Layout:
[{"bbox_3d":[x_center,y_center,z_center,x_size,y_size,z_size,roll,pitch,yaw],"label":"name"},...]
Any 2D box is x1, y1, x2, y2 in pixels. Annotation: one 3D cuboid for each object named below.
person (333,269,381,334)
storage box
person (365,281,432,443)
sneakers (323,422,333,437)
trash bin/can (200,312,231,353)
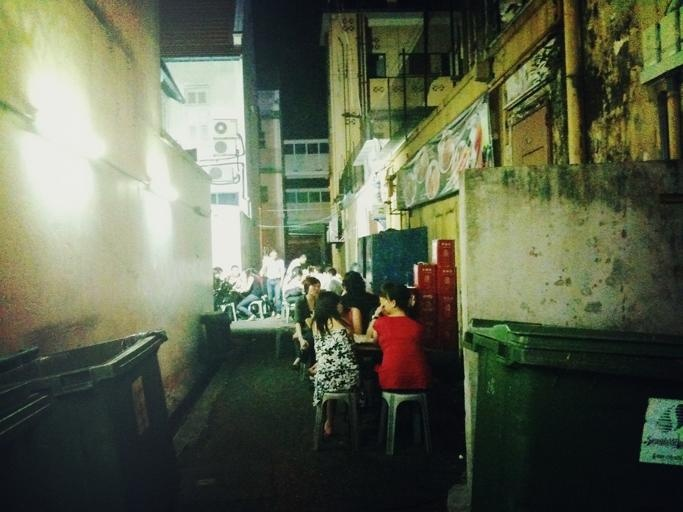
[{"bbox_3d":[0.230,0.656,10.029,0.530,1.632,0.524,-4,15,-3],"label":"person"},{"bbox_3d":[1.425,0.627,10.594,0.675,2.192,1.507,-2,4,1],"label":"storage box"},{"bbox_3d":[0.651,1.166,7.921,0.596,1.747,1.011,-2,11,1],"label":"person"},{"bbox_3d":[-0.155,1.976,8.027,0.096,0.194,0.051,2,31,3],"label":"sneakers"},{"bbox_3d":[-2.102,1.249,11.821,0.364,0.728,0.633,-2,11,-1],"label":"trash bin/can"}]
